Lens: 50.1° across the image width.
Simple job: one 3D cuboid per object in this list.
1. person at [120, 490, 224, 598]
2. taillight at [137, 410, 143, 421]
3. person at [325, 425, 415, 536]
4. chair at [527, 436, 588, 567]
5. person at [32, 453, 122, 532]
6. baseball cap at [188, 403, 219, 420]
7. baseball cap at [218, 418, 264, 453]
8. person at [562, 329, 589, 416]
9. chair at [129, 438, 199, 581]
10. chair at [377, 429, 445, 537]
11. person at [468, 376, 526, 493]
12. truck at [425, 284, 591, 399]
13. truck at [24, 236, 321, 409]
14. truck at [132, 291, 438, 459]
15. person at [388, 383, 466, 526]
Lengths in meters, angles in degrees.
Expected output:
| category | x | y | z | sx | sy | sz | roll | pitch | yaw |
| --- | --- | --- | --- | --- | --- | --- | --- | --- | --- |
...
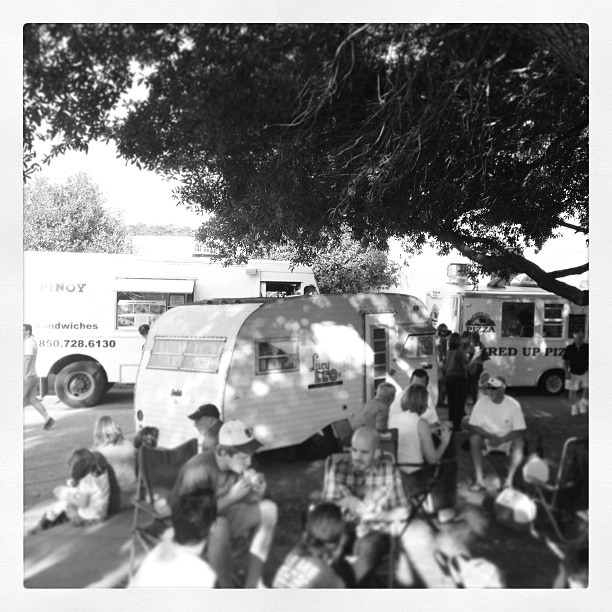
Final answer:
| category | x | y | z | sx | sy | sz | roll | pitch | yaw |
| --- | --- | --- | --- | --- | --- | --- | --- | --- | --- |
| person | -0.995 | 1.879 | 5.211 | 0.625 | 0.868 | 0.294 | -2 | 3 | 8 |
| taillight | -2.237 | 1.457 | 8.791 | 0.069 | 0.119 | 0.024 | -3 | -9 | 24 |
| person | 0.561 | 1.907 | 6.111 | 0.746 | 1.548 | 0.649 | -2 | 4 | 7 |
| chair | 2.722 | 1.958 | 7.318 | 0.545 | 1.126 | 0.859 | -1 | 3 | -41 |
| person | -2.527 | 1.943 | 7.112 | 0.731 | 1.049 | 0.580 | 5 | 19 | -2 |
| baseball cap | -1.222 | 1.277 | 7.962 | 0.241 | 0.179 | 0.178 | 3 | -11 | 5 |
| baseball cap | -0.637 | 1.214 | 6.186 | 0.315 | 0.202 | 0.256 | 10 | 17 | 3 |
| person | 4.943 | 1.244 | 12.005 | 0.389 | 1.583 | 0.609 | -1 | 3 | 23 |
| chair | -1.493 | 2.405 | 7.053 | 0.654 | 1.548 | 0.982 | -1 | 41 | -13 |
| chair | 1.157 | 1.897 | 7.035 | 0.579 | 1.036 | 0.749 | -13 | -3 | 10 |
| person | 2.242 | 1.488 | 7.606 | 0.631 | 1.464 | 0.697 | 16 | -18 | -29 |
| truck | 4.812 | 0.480 | 15.133 | 3.077 | 2.575 | 1.913 | 0 | 17 | -9 |
| truck | -3.087 | 0.323 | 12.736 | 4.372 | 2.934 | 0.906 | -5 | 4 | -29 |
| truck | -0.346 | 0.767 | 9.647 | 3.743 | 2.433 | 2.347 | -2 | 3 | -34 |
| person | 1.284 | 1.625 | 7.241 | 0.715 | 1.599 | 0.577 | -2 | 6 | -30 |
